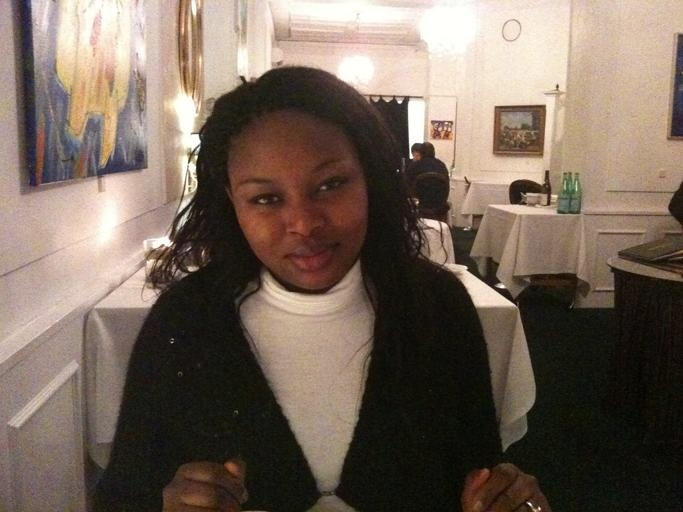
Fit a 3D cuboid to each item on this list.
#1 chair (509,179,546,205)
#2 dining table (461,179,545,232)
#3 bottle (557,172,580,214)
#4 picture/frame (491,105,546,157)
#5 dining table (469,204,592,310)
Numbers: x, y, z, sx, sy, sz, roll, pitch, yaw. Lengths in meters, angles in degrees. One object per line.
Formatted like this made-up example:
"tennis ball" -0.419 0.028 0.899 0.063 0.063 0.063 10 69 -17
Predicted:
"chair" 2.052 -0.751 5.793 0.501 0.299 0.497 -2 11 2
"dining table" 2.070 -0.738 6.960 0.722 0.461 0.841 -4 18 -12
"bottle" 1.711 -0.478 3.844 0.180 0.292 0.160 1 13 12
"picture/frame" 2.783 -1.988 8.007 0.905 0.896 0.067 2 7 12
"dining table" 1.561 -0.079 4.130 1.035 0.589 1.037 -6 14 -38
